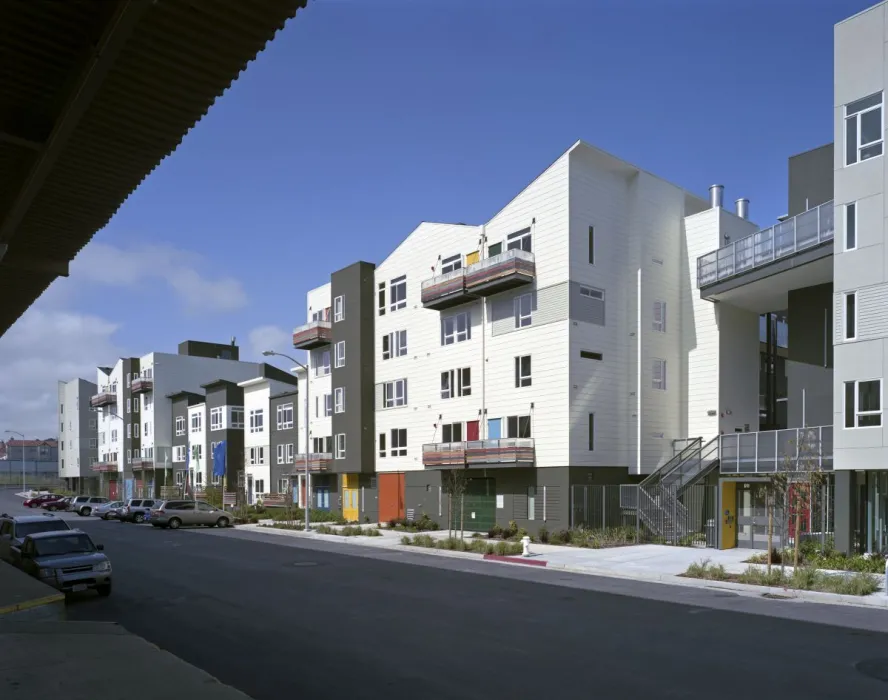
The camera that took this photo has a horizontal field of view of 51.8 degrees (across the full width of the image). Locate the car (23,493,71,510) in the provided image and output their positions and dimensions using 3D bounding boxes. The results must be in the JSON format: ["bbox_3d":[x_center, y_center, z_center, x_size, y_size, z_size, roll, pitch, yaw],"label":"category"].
[{"bbox_3d":[-32.601,12.537,75.210,2.852,1.759,8.674,6,-14,-29],"label":"car"}]

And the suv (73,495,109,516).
[{"bbox_3d":[-25.100,11.230,65.193,2.551,1.178,1.302,-1,-2,-25],"label":"suv"}]
